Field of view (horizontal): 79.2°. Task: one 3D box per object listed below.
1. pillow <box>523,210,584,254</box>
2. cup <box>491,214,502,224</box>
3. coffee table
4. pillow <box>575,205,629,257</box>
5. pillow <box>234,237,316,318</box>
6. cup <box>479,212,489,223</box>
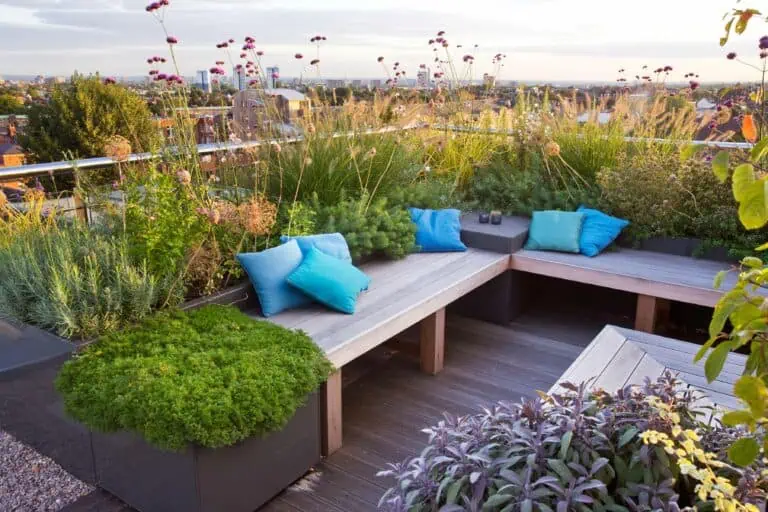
[{"bbox_3d":[1.886,-0.312,4.997,0.461,0.127,0.492,5,66,18],"label":"pillow"},{"bbox_3d":[1.257,-0.419,5.247,0.109,0.092,0.106,-2,15,0],"label":"cup"},{"bbox_3d":[1.295,0.124,5.137,1.002,1.006,1.038,11,27,28],"label":"coffee table"},{"bbox_3d":[2.277,-0.179,4.962,0.505,0.157,0.515,-44,44,-16],"label":"pillow"},{"bbox_3d":[-0.919,0.220,3.569,0.286,0.439,0.516,5,4,-3],"label":"pillow"},{"bbox_3d":[1.111,-0.436,5.232,0.110,0.104,0.109,-1,11,0],"label":"cup"}]
